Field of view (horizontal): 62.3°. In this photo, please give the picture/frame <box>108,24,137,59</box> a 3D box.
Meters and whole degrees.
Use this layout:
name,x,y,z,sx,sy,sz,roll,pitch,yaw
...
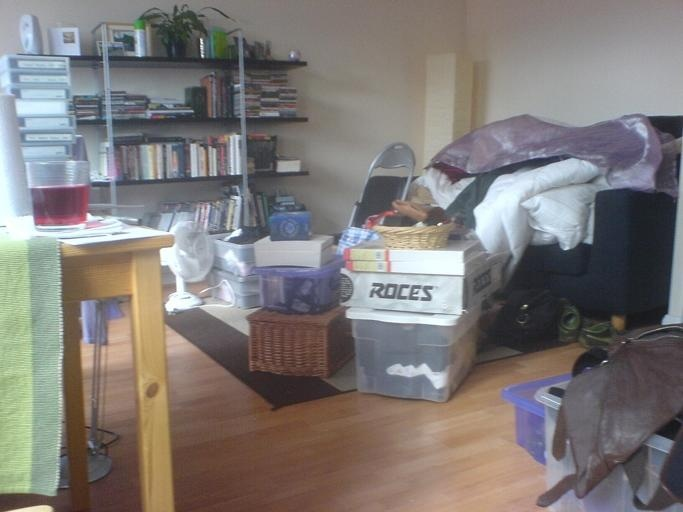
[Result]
name,x,y,z,sx,sy,sz,roll,pitch,yaw
picture/frame,-1.508,-1.482,3.859,0.178,0.209,0.083,-6,16,-17

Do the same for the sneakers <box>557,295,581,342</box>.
name,x,y,z,sx,sy,sz,roll,pitch,yaw
sneakers,1.116,0.319,2.801,0.123,0.068,0.174,-24,41,28

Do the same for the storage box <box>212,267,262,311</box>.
name,x,y,z,sx,sy,sz,roll,pitch,yaw
storage box,-0.659,0.212,3.527,0.232,0.148,0.369,-5,6,-40

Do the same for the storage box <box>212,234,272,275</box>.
name,x,y,z,sx,sy,sz,roll,pitch,yaw
storage box,-0.609,0.002,3.453,0.235,0.130,0.357,3,4,32

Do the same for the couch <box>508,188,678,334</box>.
name,x,y,z,sx,sy,sz,roll,pitch,yaw
couch,1.314,-0.031,3.227,0.654,0.828,1.174,-12,15,-42

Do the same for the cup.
name,x,y,z,sx,sy,sz,roll,pitch,yaw
cup,-0.597,-0.133,1.248,0.167,0.161,0.153,0,3,0

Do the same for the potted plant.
name,x,y,z,sx,sy,sz,roll,pitch,yaw
potted plant,-1.121,-1.626,4.130,0.613,0.259,0.558,4,8,1
